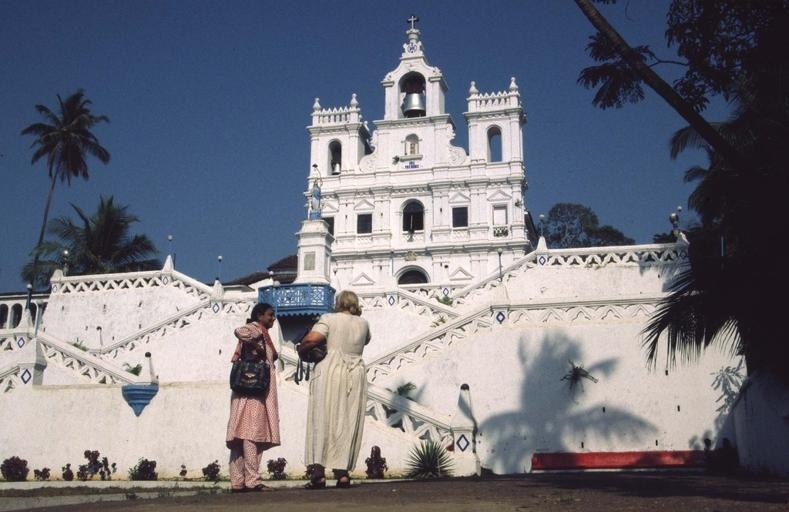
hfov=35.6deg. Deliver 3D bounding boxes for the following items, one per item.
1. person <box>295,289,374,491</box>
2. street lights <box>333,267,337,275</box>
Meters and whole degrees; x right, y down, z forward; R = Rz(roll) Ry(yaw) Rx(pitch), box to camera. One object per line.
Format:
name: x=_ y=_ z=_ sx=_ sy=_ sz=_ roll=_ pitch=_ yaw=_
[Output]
person: x=-1.169 y=2.608 z=24.536 sx=1.276 sy=3.880 sz=0.914 roll=1 pitch=-15 yaw=-1
street lights: x=-2.827 y=0.782 z=58.559 sx=0.228 sy=0.344 sz=0.185 roll=4 pitch=-15 yaw=-14
